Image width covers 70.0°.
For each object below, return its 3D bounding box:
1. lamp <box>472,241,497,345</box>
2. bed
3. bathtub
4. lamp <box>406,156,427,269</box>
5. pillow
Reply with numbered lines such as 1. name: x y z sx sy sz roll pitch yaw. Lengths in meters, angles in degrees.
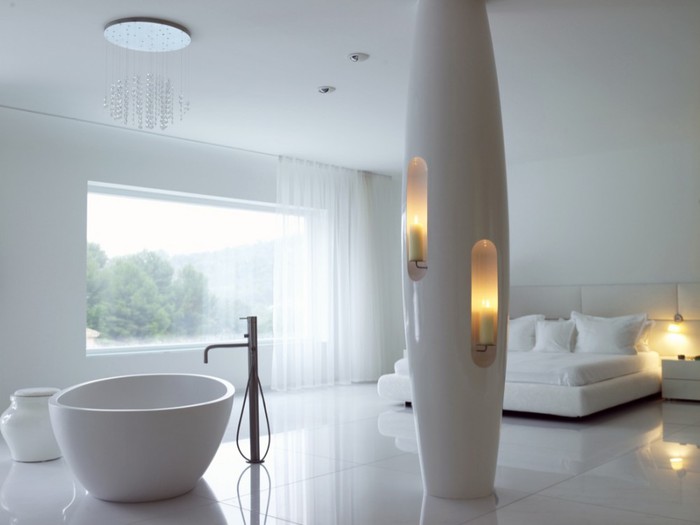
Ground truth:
1. lamp: 0.786 0.175 2.873 0.145 0.606 0.165 -1 -3 14
2. bed: 2.443 1.262 5.529 2.411 0.500 1.242 3 -6 -39
3. bathtub: -1.330 1.087 3.192 1.046 0.605 1.104 2 -5 -34
4. lamp: 0.403 -0.296 3.003 0.117 0.607 0.157 -1 -3 6
5. pillow: 2.701 0.832 5.964 1.514 0.449 0.649 -4 -5 32
